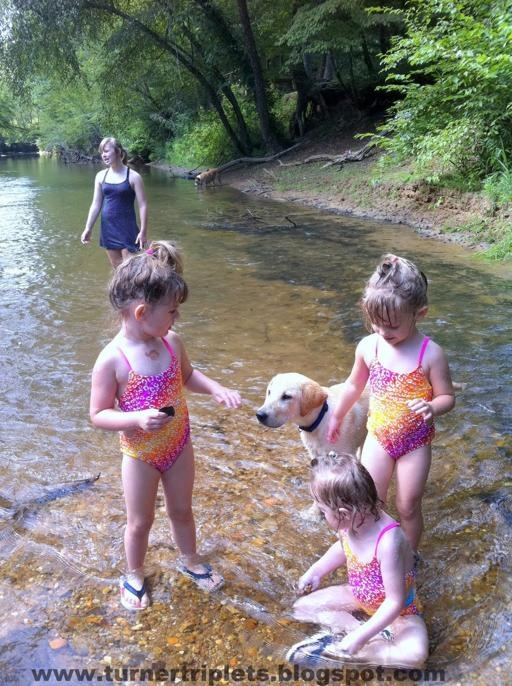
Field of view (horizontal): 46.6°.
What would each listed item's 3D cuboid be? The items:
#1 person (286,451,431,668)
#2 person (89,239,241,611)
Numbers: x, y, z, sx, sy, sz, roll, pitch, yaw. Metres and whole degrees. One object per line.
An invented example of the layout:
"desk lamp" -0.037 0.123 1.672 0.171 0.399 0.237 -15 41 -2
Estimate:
"person" 0.380 0.818 2.334 0.472 0.751 0.538 -11 18 -12
"person" -0.416 0.354 2.570 0.426 1.509 0.727 5 21 33
